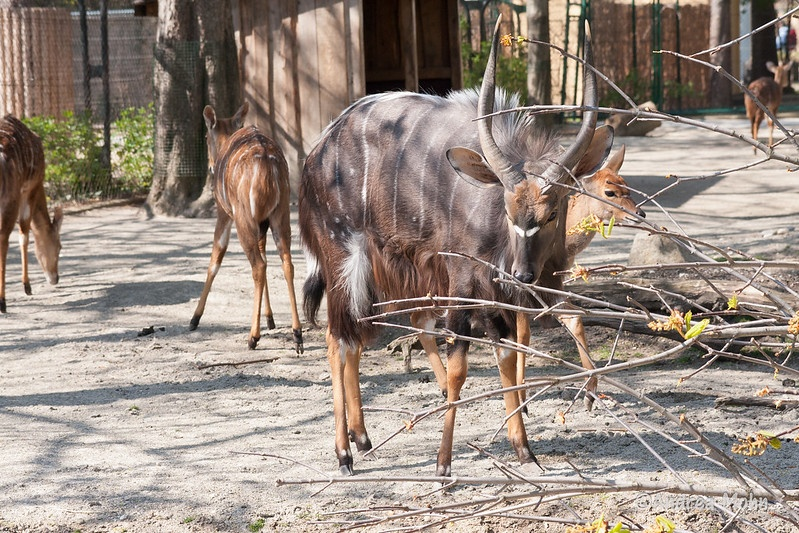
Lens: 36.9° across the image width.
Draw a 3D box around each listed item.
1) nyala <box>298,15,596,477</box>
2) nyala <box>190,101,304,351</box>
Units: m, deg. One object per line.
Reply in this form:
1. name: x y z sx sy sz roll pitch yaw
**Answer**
1. nyala: 0.374 -0.230 11.091 2.844 4.033 1.358 -1 11 10
2. nyala: -1.753 -0.478 13.781 1.002 2.635 2.014 -9 12 -27
